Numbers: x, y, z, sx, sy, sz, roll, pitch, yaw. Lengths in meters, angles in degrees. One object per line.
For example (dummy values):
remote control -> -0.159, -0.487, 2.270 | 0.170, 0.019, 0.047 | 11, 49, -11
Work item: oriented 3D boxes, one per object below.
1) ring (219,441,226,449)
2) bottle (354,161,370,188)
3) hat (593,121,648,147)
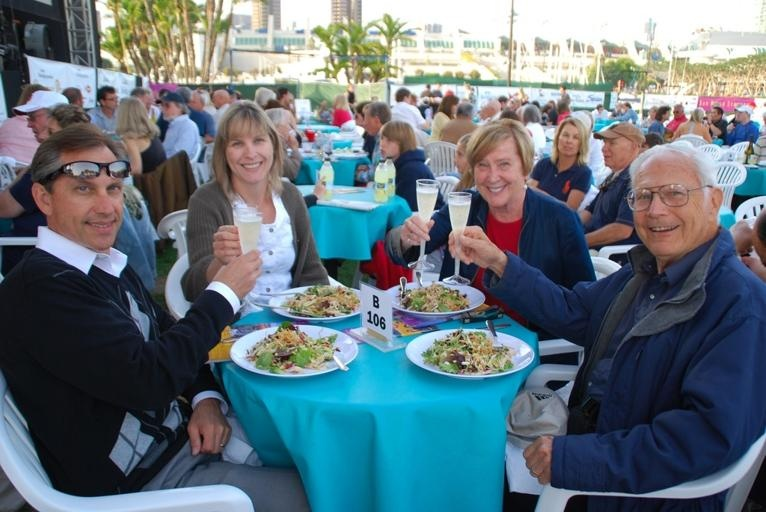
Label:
ring -> -0.694, 0.827, 2.255 | 0.023, 0.008, 0.018 | -3, 2, 35
bottle -> -0.294, -1.153, 7.357 | 0.274, 0.383, 0.135 | -1, -8, 8
hat -> 2.319, -1.192, 5.005 | 0.378, 0.157, 0.249 | 7, 13, 9
